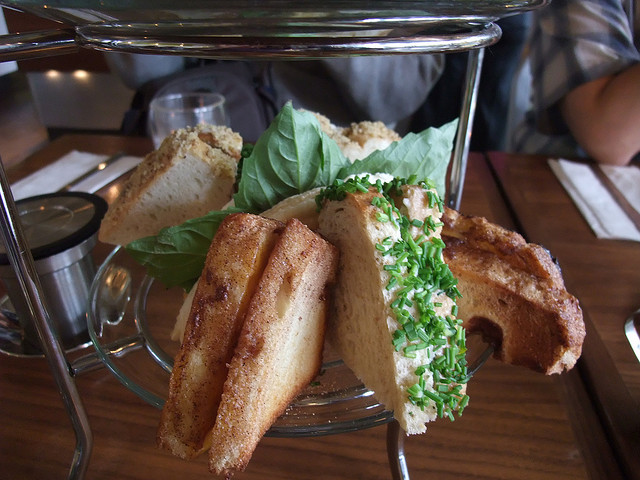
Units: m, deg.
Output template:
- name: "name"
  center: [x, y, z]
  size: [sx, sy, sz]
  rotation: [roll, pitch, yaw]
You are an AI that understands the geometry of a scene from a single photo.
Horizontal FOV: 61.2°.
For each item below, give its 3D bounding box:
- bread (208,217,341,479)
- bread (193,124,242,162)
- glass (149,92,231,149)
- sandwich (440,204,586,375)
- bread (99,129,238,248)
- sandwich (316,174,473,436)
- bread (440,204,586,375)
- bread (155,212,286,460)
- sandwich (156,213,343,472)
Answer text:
- name: "bread"
  center: [-0.040, 0.115, 0.547]
  size: [0.063, 0.232, 0.213]
  rotation: [14, 42, 5]
- name: "bread"
  center: [-0.138, -0.140, 0.754]
  size: [0.067, 0.050, 0.030]
  rotation: [27, 57, 23]
- name: "glass"
  center: [-0.285, -0.253, 1.265]
  size: [0.161, 0.173, 0.168]
  rotation: [-5, 4, -3]
- name: "sandwich"
  center: [0.205, 0.071, 0.658]
  size: [0.118, 0.060, 0.232]
  rotation: [-32, 90, -34]
- name: "bread"
  center: [-0.231, -0.091, 0.760]
  size: [0.165, 0.172, 0.046]
  rotation: [-39, 76, 3]
- name: "sandwich"
  center: [0.068, 0.042, 0.609]
  size: [0.084, 0.229, 0.246]
  rotation: [-4, 17, -22]
- name: "bread"
  center: [0.223, 0.037, 0.654]
  size: [0.227, 0.122, 0.056]
  rotation: [37, 36, 15]
- name: "bread"
  center: [-0.098, 0.067, 0.594]
  size: [0.086, 0.306, 0.073]
  rotation: [13, -3, 32]
- name: "sandwich"
  center: [-0.057, 0.095, 0.608]
  size: [0.151, 0.099, 0.277]
  rotation: [19, 84, 31]
